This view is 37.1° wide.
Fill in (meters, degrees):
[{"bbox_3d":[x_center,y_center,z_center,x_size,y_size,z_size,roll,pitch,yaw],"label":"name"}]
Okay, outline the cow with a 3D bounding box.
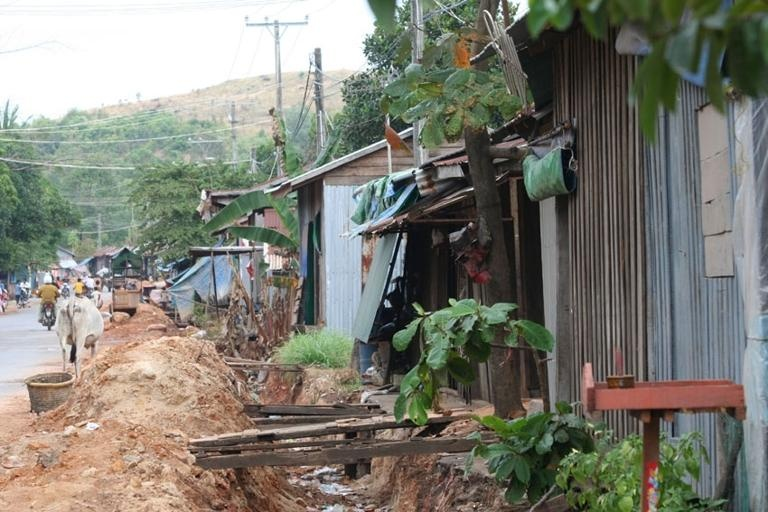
[{"bbox_3d":[-6.519,1.410,23.456,0.895,1.367,2.452,1,4,-3],"label":"cow"}]
